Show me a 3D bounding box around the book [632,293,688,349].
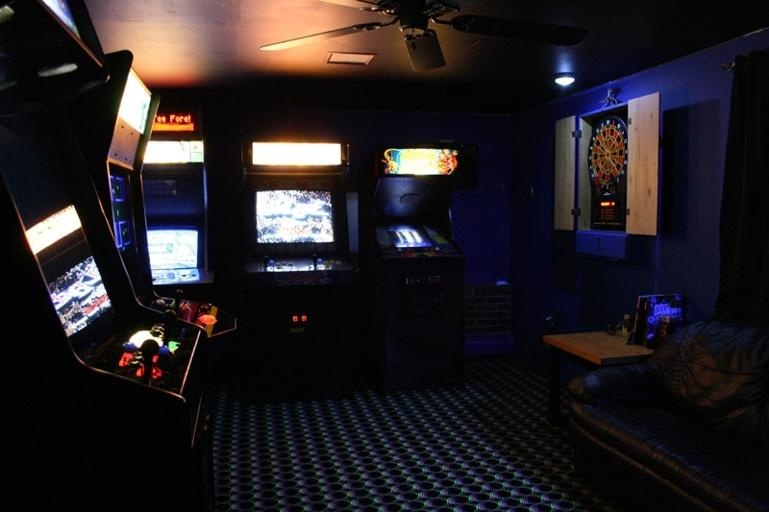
[{"bbox_3d":[2.117,0.509,4.470,0.414,0.371,0.208,1,-3,-11],"label":"book"}]
